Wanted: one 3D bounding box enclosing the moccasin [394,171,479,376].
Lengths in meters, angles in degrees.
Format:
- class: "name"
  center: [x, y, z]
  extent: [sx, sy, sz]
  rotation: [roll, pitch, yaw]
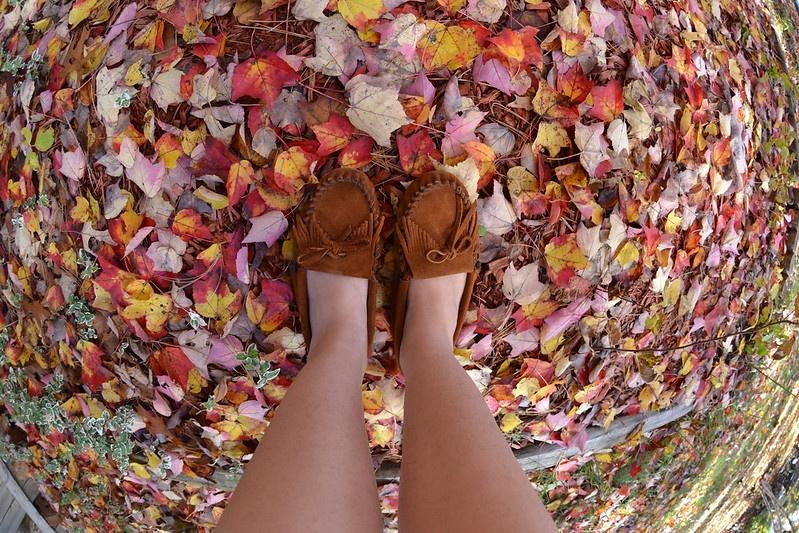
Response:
- class: "moccasin"
  center: [0.121, 0.020, 1.976]
  extent: [0.259, 0.683, 0.198]
  rotation: [2, 18, 0]
